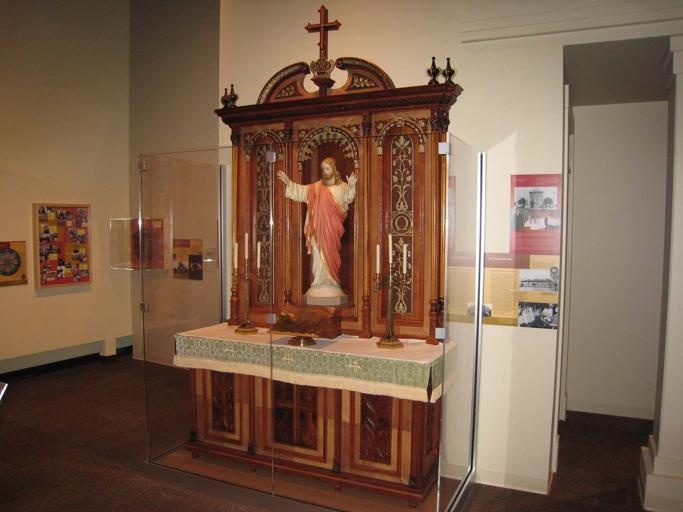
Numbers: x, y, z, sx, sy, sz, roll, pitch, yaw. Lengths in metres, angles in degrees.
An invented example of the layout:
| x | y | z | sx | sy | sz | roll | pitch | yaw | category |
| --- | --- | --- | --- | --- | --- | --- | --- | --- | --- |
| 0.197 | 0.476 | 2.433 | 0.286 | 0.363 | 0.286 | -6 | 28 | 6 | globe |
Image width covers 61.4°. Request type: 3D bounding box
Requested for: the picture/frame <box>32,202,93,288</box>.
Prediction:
| x | y | z | sx | sy | sz | roll | pitch | yaw | category |
| --- | --- | --- | --- | --- | --- | --- | --- | --- | --- |
| -2.320 | -0.108 | 4.733 | 0.090 | 0.981 | 0.647 | 4 | 6 | 24 | picture/frame |

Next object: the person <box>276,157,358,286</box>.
| x | y | z | sx | sy | sz | roll | pitch | yaw | category |
| --- | --- | --- | --- | --- | --- | --- | --- | --- | --- |
| -0.166 | -0.226 | 3.873 | 0.536 | 0.836 | 0.203 | 1 | 10 | -6 | person |
